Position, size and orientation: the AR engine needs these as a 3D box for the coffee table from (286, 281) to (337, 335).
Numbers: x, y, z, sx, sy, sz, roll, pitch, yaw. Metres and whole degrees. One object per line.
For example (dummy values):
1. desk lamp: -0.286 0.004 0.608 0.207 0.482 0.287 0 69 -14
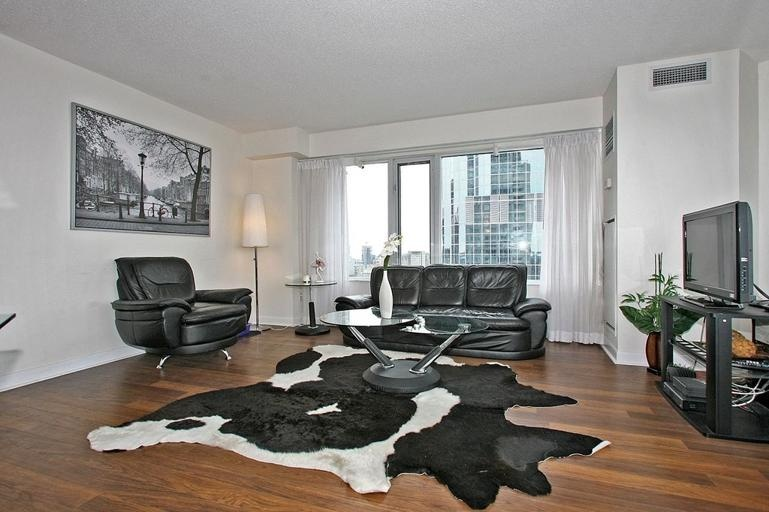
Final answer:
1. coffee table: -1.224 0.771 6.922 0.937 0.704 0.832 -1 -4 16

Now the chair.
1. chair: -2.422 0.594 5.615 1.506 1.009 1.443 -1 6 -41

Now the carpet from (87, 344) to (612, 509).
1. carpet: -0.079 1.508 4.093 3.828 0.359 1.740 1 6 14
